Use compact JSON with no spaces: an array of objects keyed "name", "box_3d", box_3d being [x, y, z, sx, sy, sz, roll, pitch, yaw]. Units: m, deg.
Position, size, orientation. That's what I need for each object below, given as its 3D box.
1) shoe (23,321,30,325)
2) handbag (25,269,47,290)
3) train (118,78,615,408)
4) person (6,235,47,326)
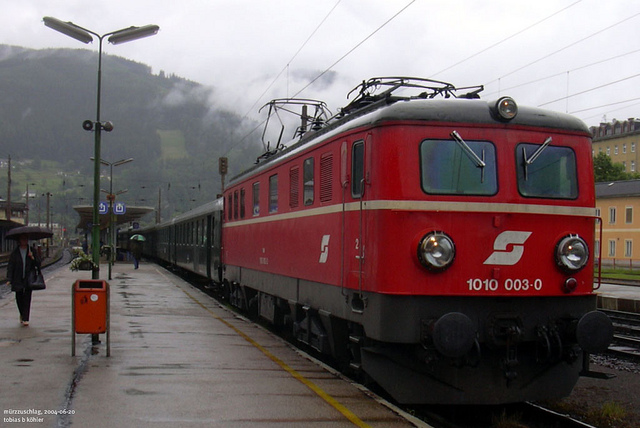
[{"name":"shoe","box_3d":[-7.192,2.687,14.049,0.105,0.125,0.304,2,-7,-30]},{"name":"handbag","box_3d":[-6.790,1.564,13.680,0.415,0.500,0.266,1,-2,-28]},{"name":"train","box_3d":[0.094,0.587,15.804,3.726,4.664,16.501,3,-1,-19]},{"name":"person","box_3d":[-7.073,1.619,13.825,0.784,2.217,0.773,1,-1,-25]}]
